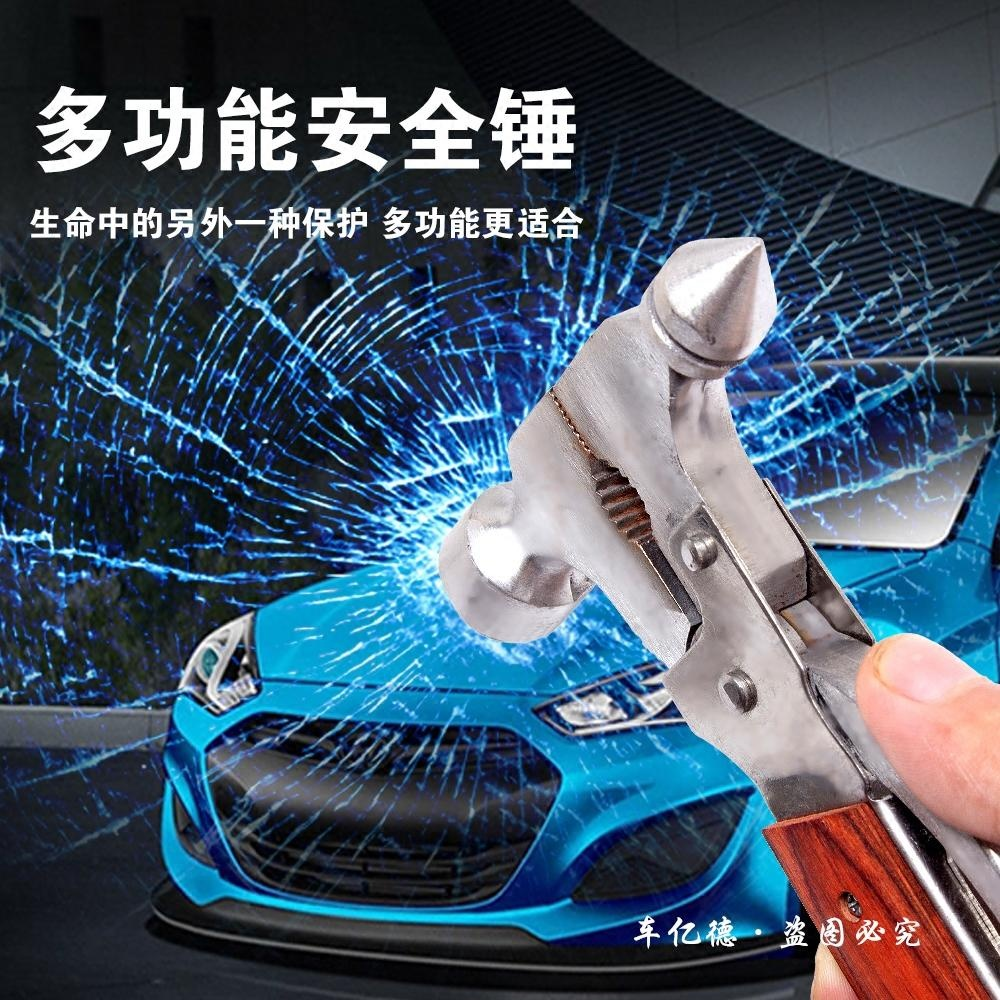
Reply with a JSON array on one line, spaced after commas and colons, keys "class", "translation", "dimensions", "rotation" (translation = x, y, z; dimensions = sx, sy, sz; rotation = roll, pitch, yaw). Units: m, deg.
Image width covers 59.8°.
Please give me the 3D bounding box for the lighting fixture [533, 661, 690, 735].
[{"class": "lighting fixture", "translation": [0.104, 0.187, 0.806], "dimensions": [0.163, 0.051, 0.040], "rotation": [-3, -9, -27]}]
